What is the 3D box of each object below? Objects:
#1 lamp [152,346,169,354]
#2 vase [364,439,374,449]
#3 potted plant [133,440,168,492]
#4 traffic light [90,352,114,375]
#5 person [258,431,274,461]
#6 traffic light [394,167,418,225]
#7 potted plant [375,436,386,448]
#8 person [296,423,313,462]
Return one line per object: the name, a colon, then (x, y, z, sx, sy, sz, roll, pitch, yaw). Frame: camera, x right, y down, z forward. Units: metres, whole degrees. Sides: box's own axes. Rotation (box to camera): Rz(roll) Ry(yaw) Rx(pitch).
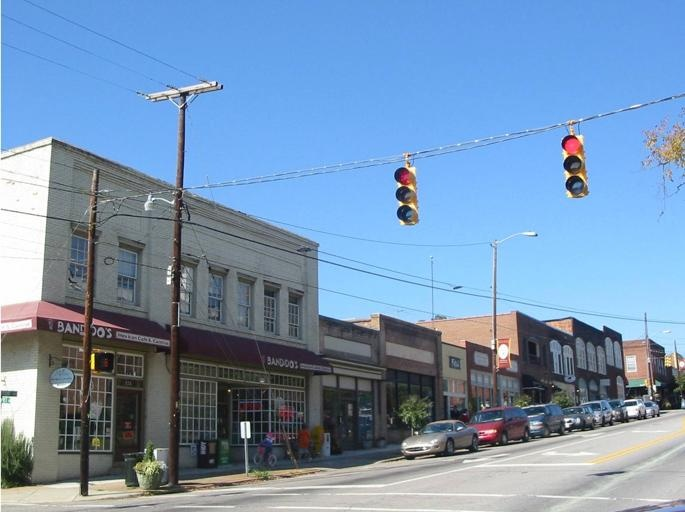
lamp: (-7.397, 3.851, 33.824, 0.666, 0.383, 0.677, 0, -2, 13)
vase: (1.458, 10.560, 46.449, 0.423, 0.352, 0.448, 0, -7, -2)
potted plant: (-6.802, 7.305, 28.957, 1.083, 1.631, 1.092, -6, -9, 24)
traffic light: (-8.474, 3.710, 28.878, 0.489, 0.980, 0.987, -9, -12, 42)
person: (-3.493, 8.555, 37.281, 0.629, 1.614, 2.502, -2, -21, -6)
traffic light: (1.833, -1.871, 23.901, 0.606, 1.956, 0.614, -6, -19, 4)
potted plant: (2.204, 10.662, 47.376, 0.442, 0.917, 0.468, -3, -2, 19)
person: (-1.856, 9.063, 39.625, 0.630, 1.413, 1.582, -3, -21, -4)
